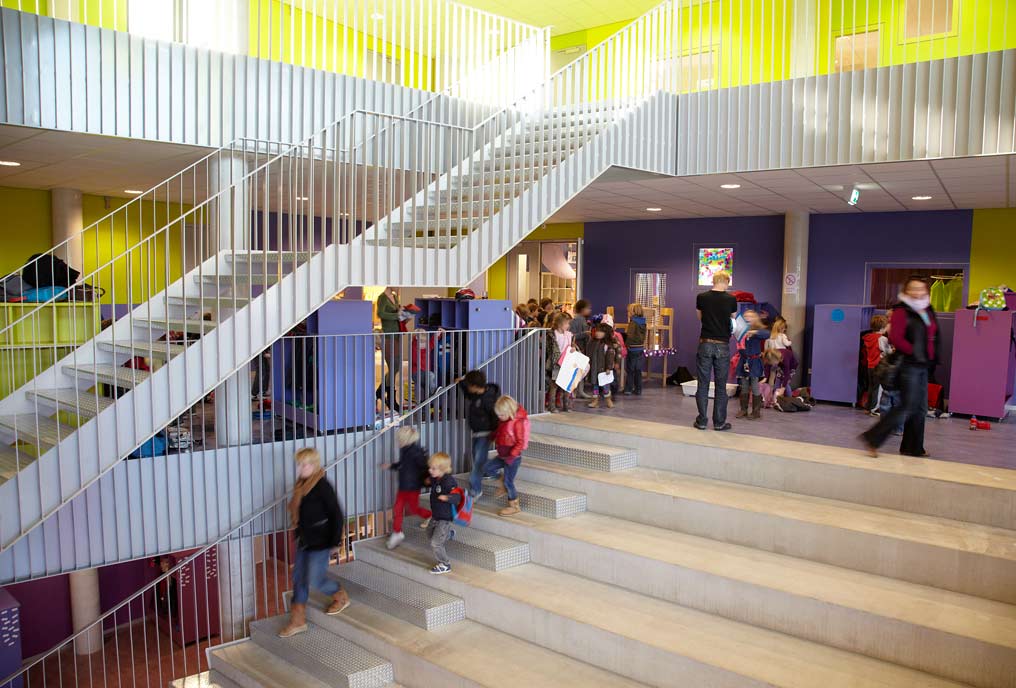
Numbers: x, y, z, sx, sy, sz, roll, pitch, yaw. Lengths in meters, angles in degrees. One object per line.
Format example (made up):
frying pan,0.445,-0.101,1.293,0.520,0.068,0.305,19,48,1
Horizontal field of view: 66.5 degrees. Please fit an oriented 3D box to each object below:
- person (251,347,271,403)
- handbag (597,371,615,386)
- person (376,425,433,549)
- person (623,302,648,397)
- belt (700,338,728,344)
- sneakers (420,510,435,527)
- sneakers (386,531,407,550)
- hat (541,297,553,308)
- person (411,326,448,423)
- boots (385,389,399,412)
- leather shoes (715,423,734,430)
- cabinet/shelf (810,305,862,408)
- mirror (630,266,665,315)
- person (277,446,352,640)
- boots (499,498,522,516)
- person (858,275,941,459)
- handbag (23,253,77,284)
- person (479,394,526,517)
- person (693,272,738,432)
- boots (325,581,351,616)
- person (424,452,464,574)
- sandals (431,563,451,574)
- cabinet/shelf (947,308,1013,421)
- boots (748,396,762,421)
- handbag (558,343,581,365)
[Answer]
person,-3.393,0.495,10.818,0.272,1.170,0.277,7,43,-6
handbag,1.530,0.558,12.139,0.244,0.273,0.369,0,8,3
person,-1.255,1.811,9.796,0.512,1.630,0.823,-4,9,-26
person,2.269,0.076,13.760,0.329,1.532,0.779,1,8,7
belt,2.771,-0.049,10.343,0.344,0.058,0.092,0,8,-3
sneakers,-1.030,2.257,9.934,0.178,0.136,0.348,-2,0,4
sneakers,-1.410,2.510,9.954,0.131,0.274,0.284,7,8,35
hat,0.699,-0.754,13.890,0.195,0.160,0.201,7,-34,-16
person,-1.092,0.293,10.841,0.456,1.003,0.662,0,8,-2
boots,-1.581,0.739,10.695,0.183,0.349,0.499,-1,8,-10
leather shoes,2.951,1.123,10.567,0.260,0.112,0.094,-9,12,-38
cabinet/shelf,5.660,0.178,12.946,0.888,1.597,0.894,5,4,41
mirror,2.942,-1.126,16.089,1.053,1.306,0.096,4,4,38
person,-2.278,2.264,9.031,0.767,2.255,0.795,-2,8,-13
boots,0.042,2.055,9.782,0.288,0.207,0.136,1,0,-8
person,4.652,0.315,9.117,0.695,2.161,0.913,4,9,29
handbag,-6.104,-0.923,10.301,0.730,0.311,0.851,-5,4,-33
person,0.002,1.356,9.815,0.448,1.481,0.543,-1,8,-8
person,2.773,0.107,10.401,0.476,2.159,0.329,2,8,15
boots,-2.059,3.041,9.171,0.177,0.301,0.409,1,2,25
person,-0.714,1.974,9.275,0.433,1.431,0.610,-1,8,-5
sandals,-0.782,2.658,9.127,0.221,0.102,0.104,2,1,25
cabinet/shelf,6.940,0.297,11.375,0.718,1.620,0.315,5,9,30
boots,3.648,0.915,11.416,0.155,0.332,0.370,2,8,17
handbag,0.912,0.137,11.595,0.312,0.311,0.108,30,-8,-18
